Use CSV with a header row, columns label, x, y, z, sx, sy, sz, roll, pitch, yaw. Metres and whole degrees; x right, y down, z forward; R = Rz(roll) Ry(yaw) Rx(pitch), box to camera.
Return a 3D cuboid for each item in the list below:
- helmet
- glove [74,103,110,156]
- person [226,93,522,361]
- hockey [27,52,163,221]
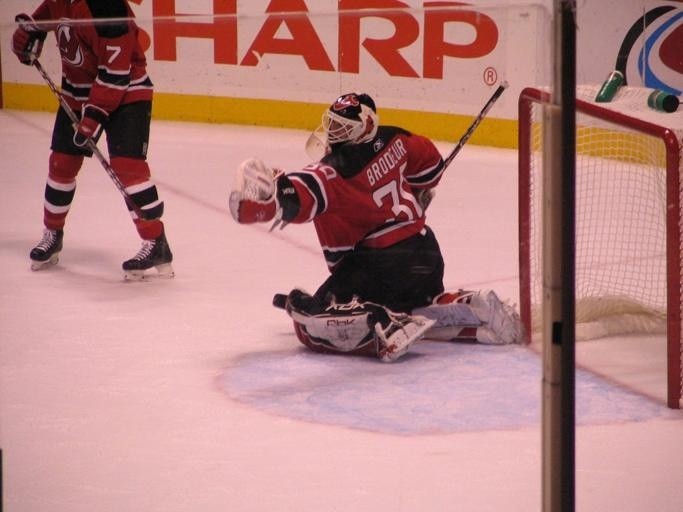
label,x,y,z,sx,sy,sz,roll,pitch,yaw
helmet,0.015,-0.402,2.502,0.164,0.130,0.132,2,4,-5
glove,-0.745,-0.395,2.640,0.098,0.132,0.054,27,11,5
person,0.131,-0.180,2.783,0.893,0.709,0.704,9,21,28
hockey,-0.718,-0.382,2.598,0.082,0.574,0.048,-35,-1,-38
